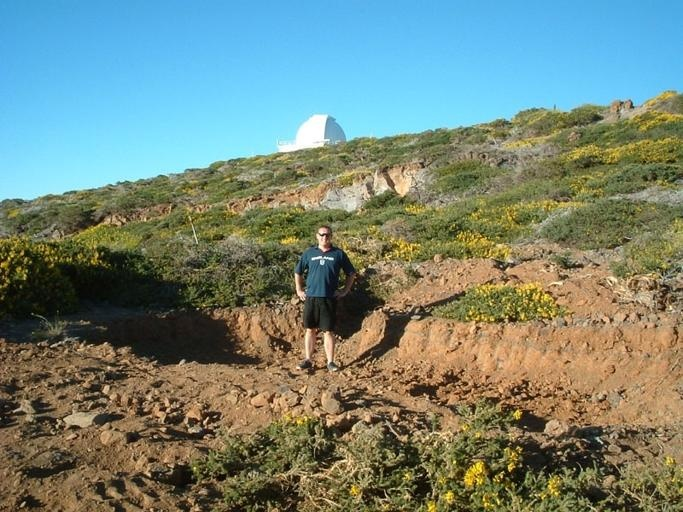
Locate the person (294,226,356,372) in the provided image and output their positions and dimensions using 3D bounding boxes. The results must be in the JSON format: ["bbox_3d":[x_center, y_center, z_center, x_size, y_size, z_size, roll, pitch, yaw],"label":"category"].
[{"bbox_3d":[-0.295,0.670,10.365,1.078,2.219,0.548,-10,8,1],"label":"person"}]
